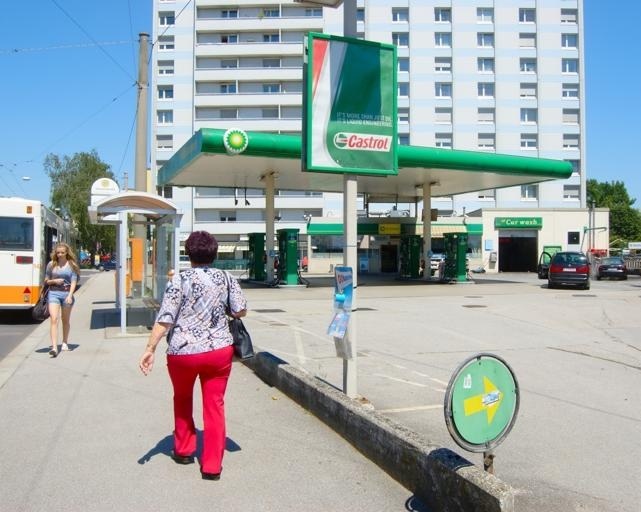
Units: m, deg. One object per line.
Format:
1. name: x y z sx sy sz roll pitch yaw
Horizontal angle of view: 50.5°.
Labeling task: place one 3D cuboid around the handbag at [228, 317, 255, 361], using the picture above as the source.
1. handbag: -0.698 0.800 6.405 0.145 0.350 0.344 -18 -13 -3

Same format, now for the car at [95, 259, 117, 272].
1. car: -18.777 0.859 58.907 2.562 0.977 1.225 2 -2 -13

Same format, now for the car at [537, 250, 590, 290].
1. car: 9.388 0.551 25.497 1.425 1.367 1.510 1 1 19

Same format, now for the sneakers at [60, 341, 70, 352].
1. sneakers: -4.253 1.500 11.229 0.084 0.110 0.244 0 -5 -13

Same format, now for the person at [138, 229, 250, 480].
1. person: -1.138 0.878 6.227 0.875 2.216 0.545 0 1 -13

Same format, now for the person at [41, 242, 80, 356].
1. person: -4.295 0.673 11.235 0.483 1.776 1.356 0 1 -20
